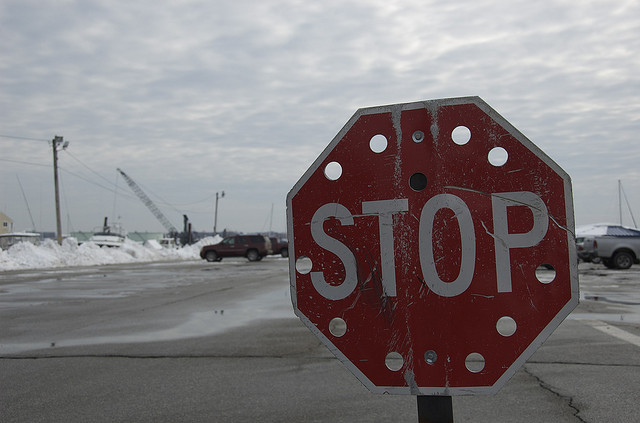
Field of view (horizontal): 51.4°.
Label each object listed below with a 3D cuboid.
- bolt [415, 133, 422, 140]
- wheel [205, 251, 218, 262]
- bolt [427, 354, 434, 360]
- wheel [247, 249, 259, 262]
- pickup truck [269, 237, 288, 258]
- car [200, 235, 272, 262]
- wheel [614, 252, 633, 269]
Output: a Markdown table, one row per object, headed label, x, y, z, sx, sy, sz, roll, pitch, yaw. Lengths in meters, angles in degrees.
| label | x | y | z | sx | sy | sz | roll | pitch | yaw |
| --- | --- | --- | --- | --- | --- | --- | --- | --- | --- |
| bolt | 0.803 | -0.621 | 5.490 | 0.049 | 0.046 | 0.011 | -5 | 8 | 20 |
| wheel | -5.458 | 2.204 | 33.194 | 0.596 | 0.555 | 0.204 | 0 | 1 | 9 |
| bolt | 0.900 | 1.193 | 5.466 | 0.036 | 0.041 | 0.004 | 0 | 5 | 9 |
| wheel | -3.353 | 2.145 | 32.816 | 0.534 | 0.498 | 0.185 | -10 | -6 | -1 |
| pickup truck | -2.189 | 1.889 | 34.974 | 0.754 | 1.277 | 2.196 | 0 | 4 | 8 |
| car | -4.156 | 1.865 | 33.308 | 2.981 | 1.071 | 1.420 | 2 | -3 | 7 |
| wheel | 10.221 | 1.633 | 22.474 | 0.442 | 0.423 | 0.143 | -29 | -8 | 11 |
